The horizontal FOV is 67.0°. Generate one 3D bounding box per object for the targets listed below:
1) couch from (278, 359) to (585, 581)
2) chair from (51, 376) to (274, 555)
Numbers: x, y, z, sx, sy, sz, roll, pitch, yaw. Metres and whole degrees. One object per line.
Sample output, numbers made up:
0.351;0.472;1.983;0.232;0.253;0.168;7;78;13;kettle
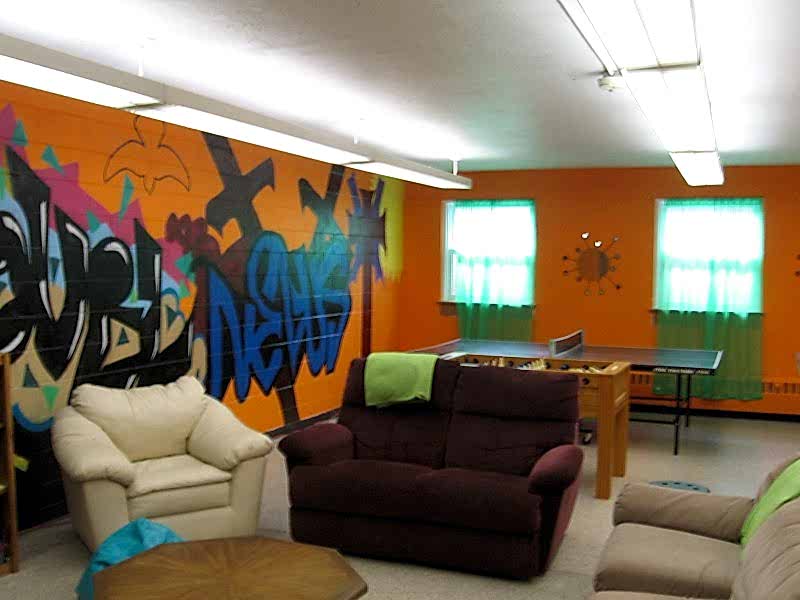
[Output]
0.235;1.133;4.378;2.120;1.261;1.206;-2;-2;27;couch
-1.780;1.174;4.413;1.143;0.992;1.452;7;3;34;chair
